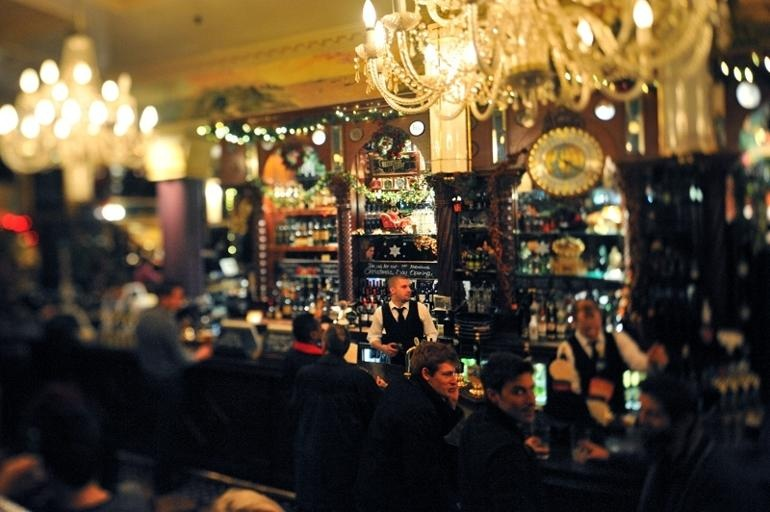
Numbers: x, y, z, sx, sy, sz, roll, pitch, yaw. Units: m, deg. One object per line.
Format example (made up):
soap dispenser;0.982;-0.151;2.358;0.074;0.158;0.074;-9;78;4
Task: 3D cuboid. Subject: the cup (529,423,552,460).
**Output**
cup;1.126;1.362;5.412;0.139;0.227;0.173;0;-2;10

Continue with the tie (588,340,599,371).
tie;1.661;0.805;5.882;0.139;0.205;0.048;-4;-11;20

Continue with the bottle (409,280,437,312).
bottle;0.335;0.325;6.436;0.273;0.289;0.170;1;-4;8

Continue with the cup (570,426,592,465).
cup;1.457;1.418;5.563;0.126;0.231;0.232;-1;-2;24

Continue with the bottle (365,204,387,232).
bottle;-0.127;-0.342;6.615;0.213;0.304;0.219;3;8;0

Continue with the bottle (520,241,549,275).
bottle;1.229;0.012;6.062;0.251;0.252;0.145;-1;-7;13
